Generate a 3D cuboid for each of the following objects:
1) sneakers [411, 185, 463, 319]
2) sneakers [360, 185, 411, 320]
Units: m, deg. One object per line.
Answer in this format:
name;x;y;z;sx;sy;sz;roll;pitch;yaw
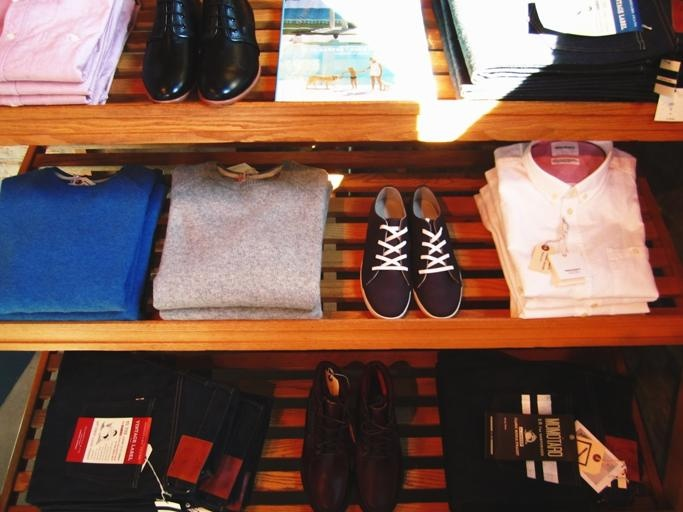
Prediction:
sneakers;0.258;-0.010;1.733;0.175;0.159;0.414;-5;66;1
sneakers;0.139;-0.013;1.732;0.174;0.158;0.414;2;63;3
